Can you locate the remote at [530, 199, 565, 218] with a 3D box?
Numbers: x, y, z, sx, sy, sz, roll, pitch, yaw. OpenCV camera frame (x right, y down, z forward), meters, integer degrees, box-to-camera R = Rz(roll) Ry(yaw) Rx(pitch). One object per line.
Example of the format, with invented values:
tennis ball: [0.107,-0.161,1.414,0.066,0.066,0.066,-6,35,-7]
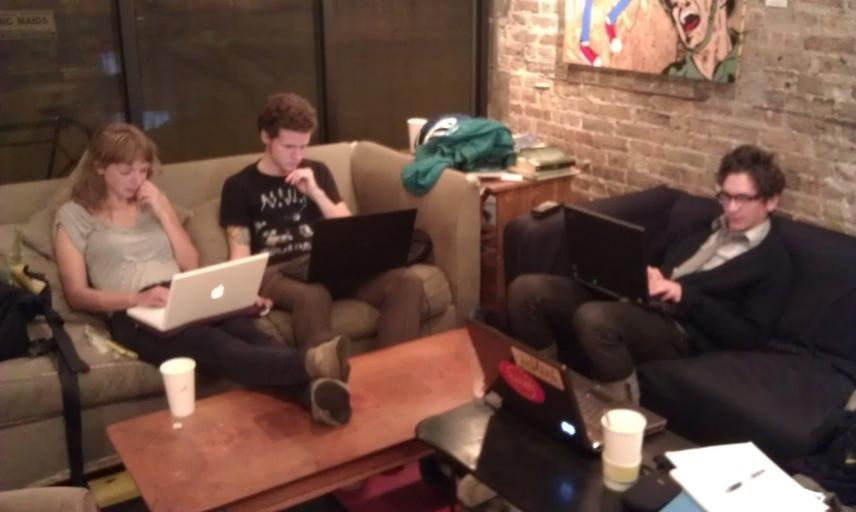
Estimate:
remote: [0.703,-0.274,3.762,0.188,0.041,0.100,-22,34,-40]

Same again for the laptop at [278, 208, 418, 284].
laptop: [-0.380,-0.056,3.431,0.612,0.377,0.406,-9,33,-30]

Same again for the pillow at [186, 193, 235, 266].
pillow: [-1.208,-0.123,3.553,0.316,0.290,0.091,-17,-6,-18]

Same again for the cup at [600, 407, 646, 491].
cup: [0.692,0.696,2.302,0.196,0.277,0.183,-3,24,2]

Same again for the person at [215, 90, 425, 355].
person: [-0.625,-0.053,3.500,1.226,1.531,0.918,13,18,35]

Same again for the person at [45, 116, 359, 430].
person: [-1.019,0.076,3.084,1.836,1.079,0.688,16,25,27]

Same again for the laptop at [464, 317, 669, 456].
laptop: [0.531,0.479,2.582,0.555,0.371,0.662,-6,12,-24]

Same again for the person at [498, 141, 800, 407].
person: [1.124,0.176,3.367,1.249,1.409,0.859,4,18,-11]

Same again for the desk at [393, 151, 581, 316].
desk: [0.337,-0.250,4.446,0.884,1.111,0.856,-18,33,-30]

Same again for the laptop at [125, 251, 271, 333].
laptop: [-1.062,0.115,3.072,0.472,0.315,0.502,23,24,33]
